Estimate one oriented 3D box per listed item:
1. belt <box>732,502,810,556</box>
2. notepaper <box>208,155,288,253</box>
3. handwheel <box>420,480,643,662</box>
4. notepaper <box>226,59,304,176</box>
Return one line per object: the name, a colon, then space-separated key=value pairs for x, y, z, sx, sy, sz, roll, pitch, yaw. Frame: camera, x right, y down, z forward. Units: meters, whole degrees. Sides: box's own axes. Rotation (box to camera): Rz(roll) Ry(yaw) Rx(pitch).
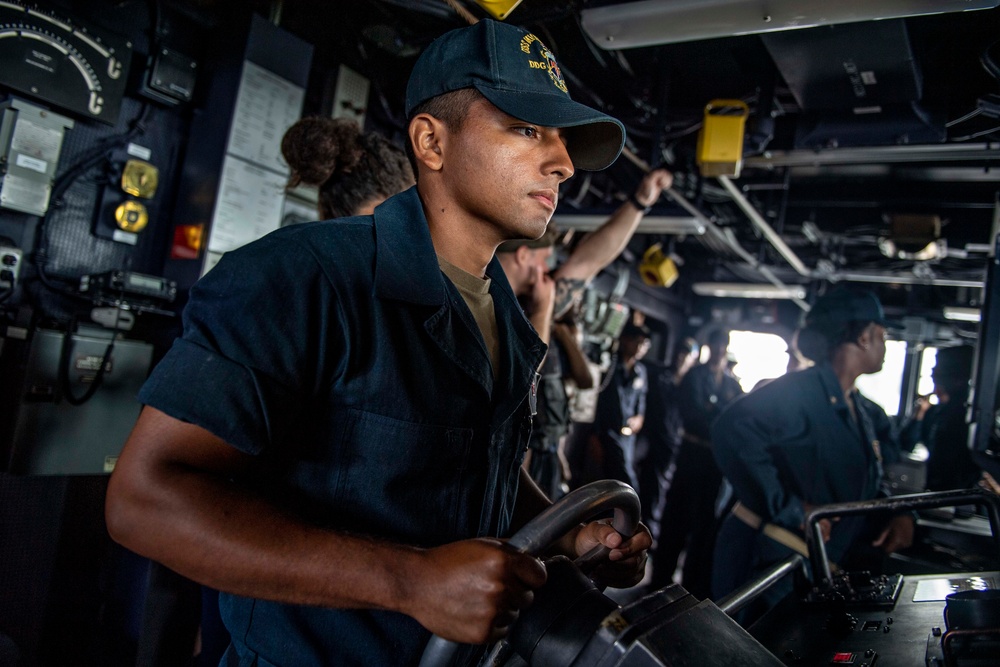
belt: x=1.475 y=1.040 z=3.728 sx=0.251 sy=0.204 sz=0.287 roll=4 pitch=3 yaw=41
notepaper: x=-1.377 y=-0.694 z=3.718 sx=0.290 sy=0.683 sz=0.507 roll=6 pitch=5 yaw=18
handwheel: x=0.086 y=0.673 z=1.900 sx=0.353 sy=0.574 sz=0.549 roll=2 pitch=-9 yaw=42
notepaper: x=-1.281 y=-1.167 z=3.759 sx=0.012 sy=0.515 sz=0.406 roll=7 pitch=-4 yaw=35
